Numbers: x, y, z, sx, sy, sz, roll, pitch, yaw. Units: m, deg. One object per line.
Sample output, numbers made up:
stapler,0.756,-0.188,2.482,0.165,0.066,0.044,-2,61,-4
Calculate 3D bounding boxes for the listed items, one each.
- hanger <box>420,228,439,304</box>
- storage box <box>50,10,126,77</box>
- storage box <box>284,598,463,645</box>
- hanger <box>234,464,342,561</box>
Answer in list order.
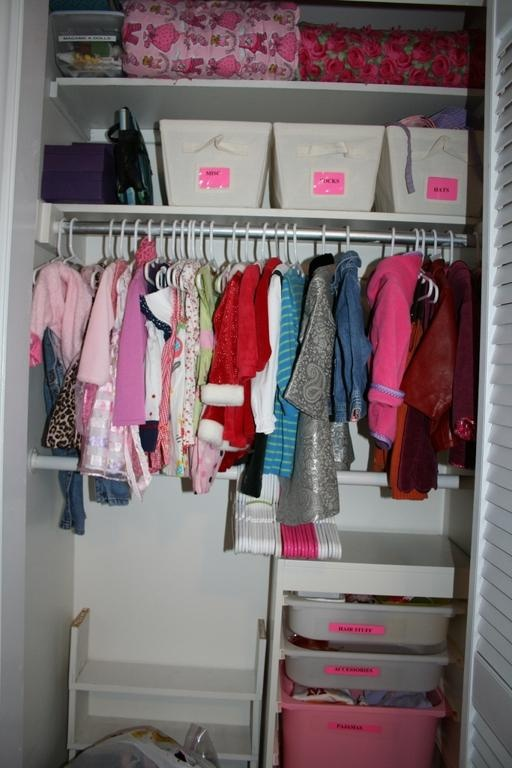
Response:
hanger,0.391,-0.267,1.361,0.037,0.177,0.131,2,4,15
storage box,-0.407,-0.826,1.468,0.111,0.097,0.148,0,22,-4
storage box,0.262,0.576,1.462,0.252,0.063,0.179,1,-13,0
hanger,0.067,0.258,1.472,0.228,0.081,0.228,8,13,-7
